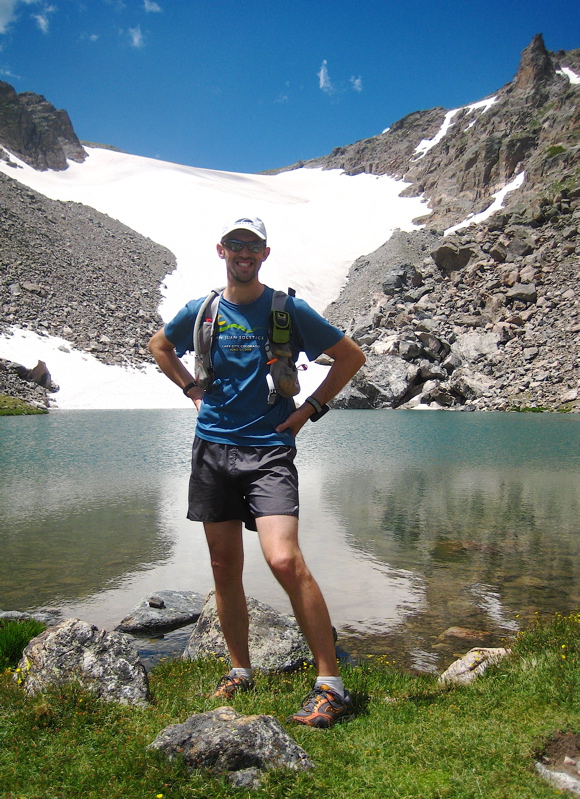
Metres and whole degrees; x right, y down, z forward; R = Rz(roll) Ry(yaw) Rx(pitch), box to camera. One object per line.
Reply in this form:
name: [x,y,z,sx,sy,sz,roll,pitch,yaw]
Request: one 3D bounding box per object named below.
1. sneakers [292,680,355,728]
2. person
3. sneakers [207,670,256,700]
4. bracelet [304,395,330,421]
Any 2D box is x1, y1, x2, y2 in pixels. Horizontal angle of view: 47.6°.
sneakers: [0.244,2.162,4.632,0.204,0.201,0.422,-15,-19,31]
person: [-0.283,0.353,5.072,1.499,3.895,0.813,-2,-11,28]
sneakers: [-0.487,2.254,5.206,0.157,0.128,0.304,-16,-22,37]
bracelet: [0.191,0.087,5.092,0.154,0.074,0.213,25,17,-35]
